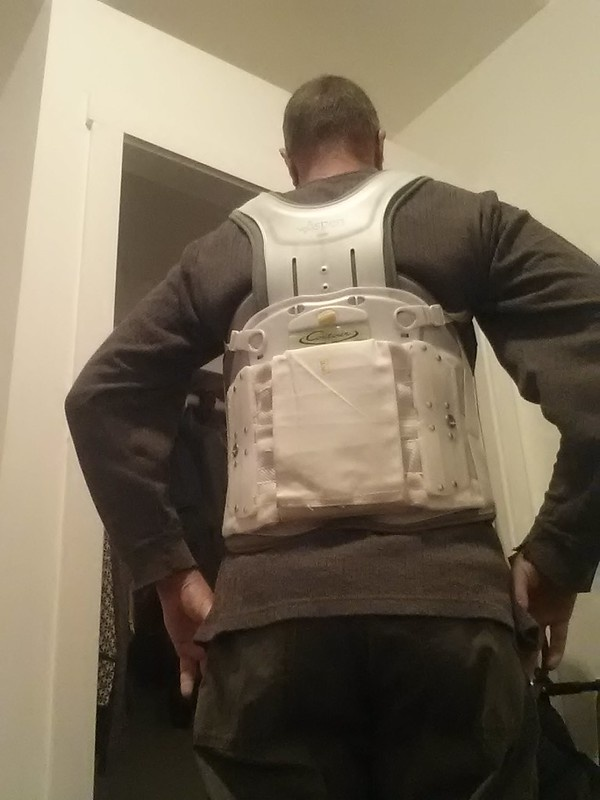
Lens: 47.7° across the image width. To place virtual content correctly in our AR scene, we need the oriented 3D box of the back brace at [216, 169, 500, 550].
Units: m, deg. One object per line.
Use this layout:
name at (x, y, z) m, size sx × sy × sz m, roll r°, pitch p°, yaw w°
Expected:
back brace at (0.064, -0.055, 0.925) m, size 0.354 × 0.444 × 0.250 m, roll -7°, pitch -8°, yaw 16°
